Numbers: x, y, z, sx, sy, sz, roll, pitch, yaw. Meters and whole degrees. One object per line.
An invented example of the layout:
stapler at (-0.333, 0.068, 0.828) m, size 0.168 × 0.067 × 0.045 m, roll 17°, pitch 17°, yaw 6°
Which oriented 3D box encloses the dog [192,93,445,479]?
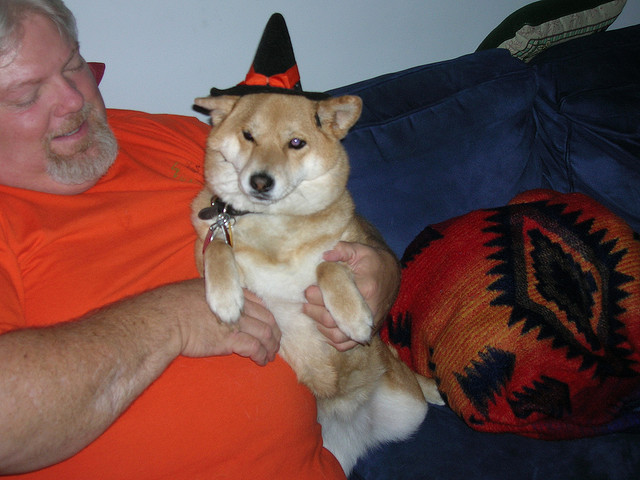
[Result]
dog at (0.018, 0.329, 3.361) m, size 1.028 × 2.163 × 1.374 m, roll -11°, pitch 25°, yaw 8°

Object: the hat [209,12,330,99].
hat at (-0.246, -0.954, 3.185) m, size 0.530 × 0.333 × 0.540 m, roll 9°, pitch 16°, yaw -12°

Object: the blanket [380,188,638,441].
blanket at (0.974, 0.367, 3.130) m, size 1.229 × 0.925 × 0.907 m, roll 3°, pitch 34°, yaw 7°

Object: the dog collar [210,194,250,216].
dog collar at (-0.443, -0.194, 3.011) m, size 0.146 × 0.052 × 0.105 m, roll 22°, pitch 16°, yaw 1°
